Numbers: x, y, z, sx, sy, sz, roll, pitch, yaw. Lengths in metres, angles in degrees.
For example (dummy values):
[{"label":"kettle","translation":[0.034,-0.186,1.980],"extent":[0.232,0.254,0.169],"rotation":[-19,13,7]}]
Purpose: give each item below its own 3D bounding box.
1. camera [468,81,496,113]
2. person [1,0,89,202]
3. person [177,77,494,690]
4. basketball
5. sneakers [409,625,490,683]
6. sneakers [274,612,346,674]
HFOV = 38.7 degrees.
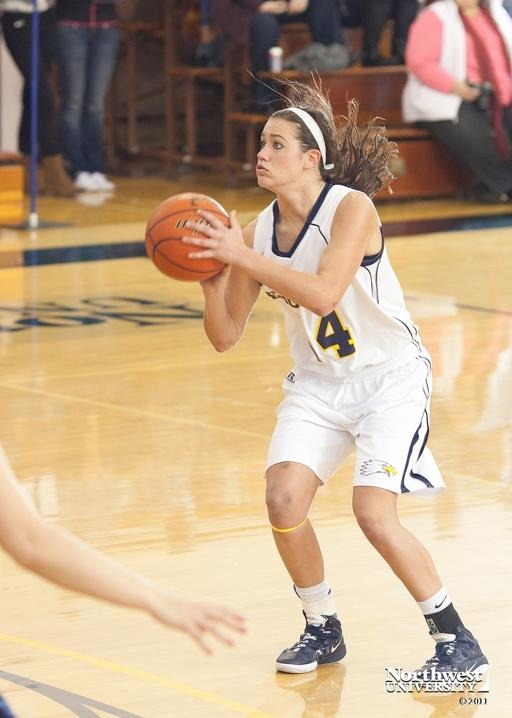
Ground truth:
[{"label":"camera","translation":[2.401,-2.796,7.737],"extent":[0.227,0.386,0.195],"rotation":[-15,23,-30]},{"label":"person","translation":[-1.976,-2.328,6.576],"extent":[0.576,1.695,0.526],"rotation":[-3,15,-13]},{"label":"person","translation":[0.154,-0.004,1.675],"extent":[0.617,1.270,0.826],"rotation":[-1,14,-5]},{"label":"basketball","translation":[-0.165,-0.268,1.668],"extent":[0.220,0.210,0.198],"rotation":[0,-2,-4]},{"label":"sneakers","translation":[0.399,0.617,1.522],"extent":[0.202,0.105,0.063],"rotation":[-2,-12,-16]},{"label":"sneakers","translation":[0.115,0.615,1.601],"extent":[0.185,0.099,0.065],"rotation":[-5,6,-38]}]
